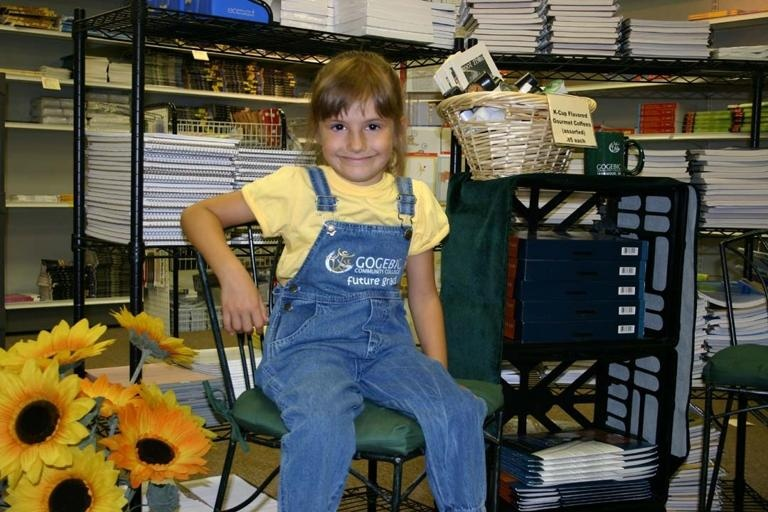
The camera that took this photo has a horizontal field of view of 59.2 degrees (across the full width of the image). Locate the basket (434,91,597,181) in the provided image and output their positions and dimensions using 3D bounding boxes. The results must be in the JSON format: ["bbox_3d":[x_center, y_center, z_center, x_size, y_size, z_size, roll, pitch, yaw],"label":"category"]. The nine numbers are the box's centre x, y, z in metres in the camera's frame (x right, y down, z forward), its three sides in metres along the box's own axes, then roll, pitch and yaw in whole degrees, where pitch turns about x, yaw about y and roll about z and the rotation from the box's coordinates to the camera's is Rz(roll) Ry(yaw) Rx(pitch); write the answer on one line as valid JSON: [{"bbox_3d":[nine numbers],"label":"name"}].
[{"bbox_3d":[0.404,-0.401,2.273,0.396,0.156,0.395,2,5,36],"label":"basket"}]
